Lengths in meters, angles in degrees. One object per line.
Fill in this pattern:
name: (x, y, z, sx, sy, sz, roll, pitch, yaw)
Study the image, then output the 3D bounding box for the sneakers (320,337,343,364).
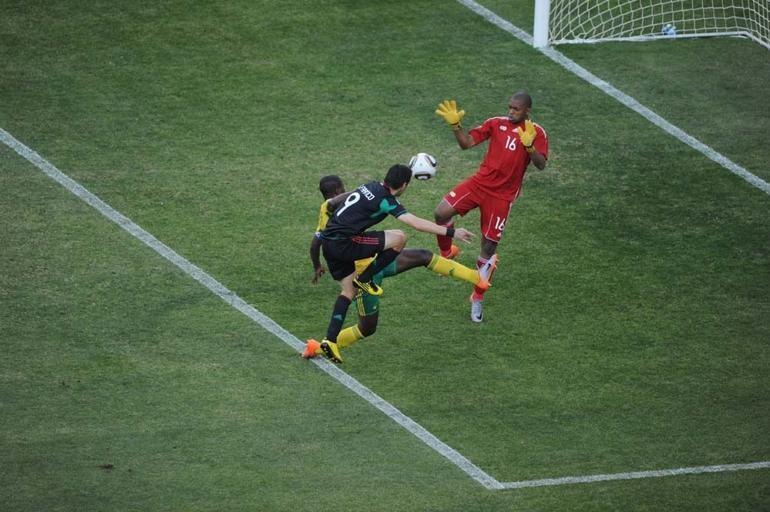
sneakers: (-0.669, 1.204, 17.804, 0.120, 0.332, 0.260, -33, 13, 47)

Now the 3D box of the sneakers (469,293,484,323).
sneakers: (1.166, 0.691, 18.484, 0.162, 0.375, 0.184, -5, 1, -16)

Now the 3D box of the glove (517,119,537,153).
glove: (1.783, -1.501, 18.184, 0.256, 0.395, 0.359, 9, 6, 3)

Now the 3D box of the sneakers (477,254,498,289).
sneakers: (1.303, 0.228, 18.589, 0.312, 0.171, 0.522, 9, 47, 19)

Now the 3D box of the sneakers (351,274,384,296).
sneakers: (-0.203, 0.417, 17.726, 0.450, 0.188, 0.152, 19, 47, -9)

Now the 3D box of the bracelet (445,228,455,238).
bracelet: (0.810, -0.269, 17.896, 0.101, 0.106, 0.117, 1, -18, -9)

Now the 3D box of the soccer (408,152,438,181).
soccer: (0.460, -1.150, 18.483, 0.406, 0.323, 0.358, 11, 13, -10)
